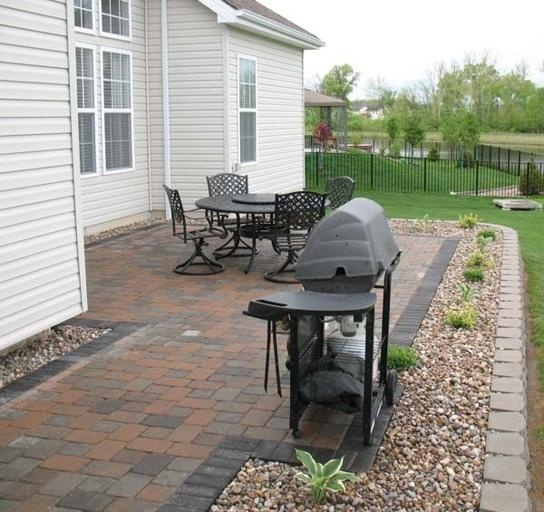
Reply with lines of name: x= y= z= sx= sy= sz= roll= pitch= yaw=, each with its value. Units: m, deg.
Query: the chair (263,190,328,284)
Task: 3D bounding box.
chair: x=0.315 y=-0.304 z=6.686 sx=0.834 sy=1.221 sz=0.956 roll=0 pitch=11 yaw=-1

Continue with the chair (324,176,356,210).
chair: x=1.029 y=-0.963 z=7.436 sx=0.400 sy=0.536 sz=1.144 roll=1 pitch=10 yaw=6
